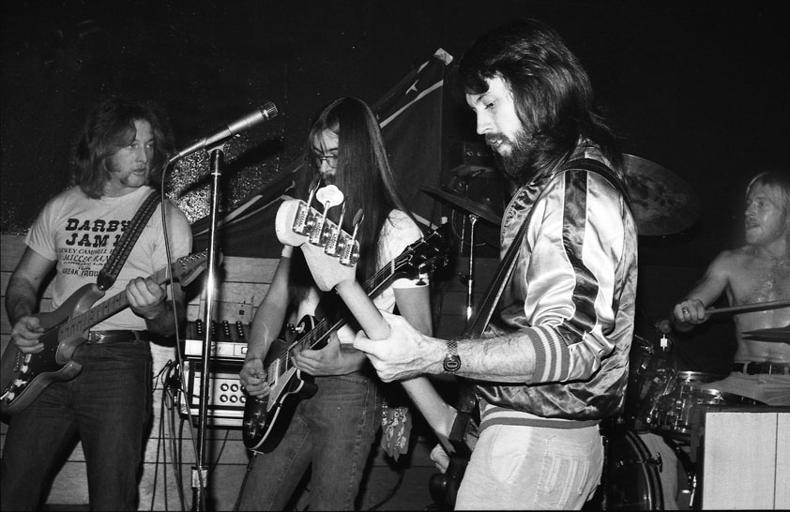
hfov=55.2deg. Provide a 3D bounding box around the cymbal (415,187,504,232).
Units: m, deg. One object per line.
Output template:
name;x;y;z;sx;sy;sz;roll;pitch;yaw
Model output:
cymbal;0.458;-0.442;5.866;0.558;0.085;0.571;14;17;-35

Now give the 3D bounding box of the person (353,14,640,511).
person;0.693;0.043;4.058;1.175;2.570;0.734;4;-17;8

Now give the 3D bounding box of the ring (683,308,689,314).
ring;2.340;0.436;6.051;0.048;0.050;0.018;-2;-19;25
